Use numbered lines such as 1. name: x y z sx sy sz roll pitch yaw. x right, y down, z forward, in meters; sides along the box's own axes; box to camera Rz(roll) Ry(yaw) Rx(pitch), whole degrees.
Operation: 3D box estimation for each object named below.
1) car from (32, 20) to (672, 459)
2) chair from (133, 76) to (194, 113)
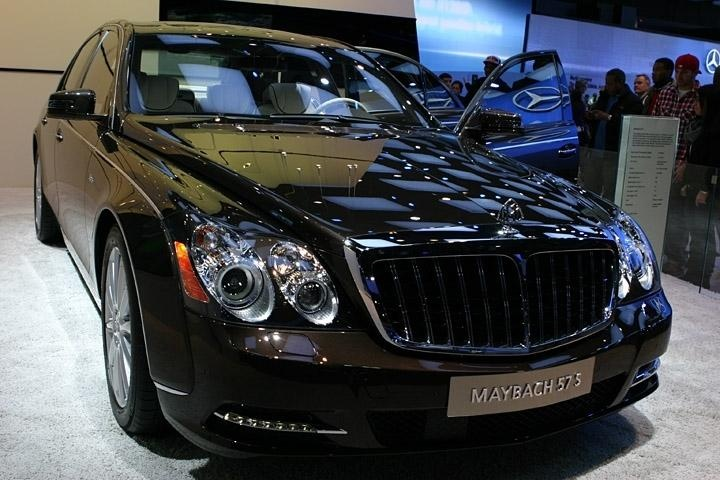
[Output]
1. car: -0.788 -0.669 3.393 2.122 1.425 4.953 -7 23 -32
2. chair: -0.970 -0.730 2.429 0.252 0.240 0.259 2 10 -5
